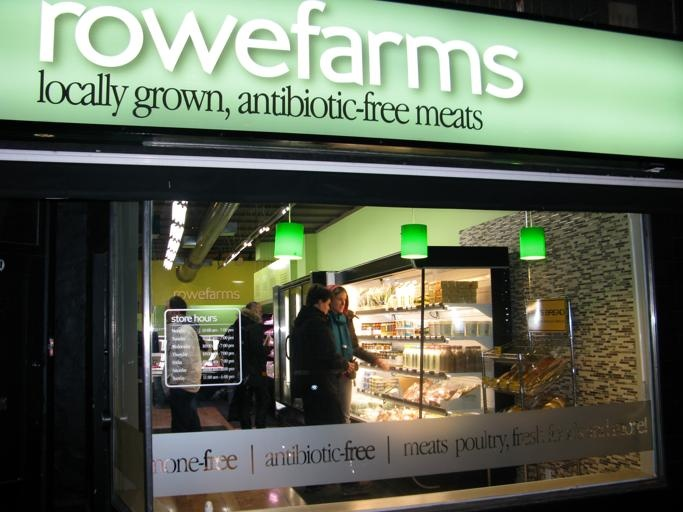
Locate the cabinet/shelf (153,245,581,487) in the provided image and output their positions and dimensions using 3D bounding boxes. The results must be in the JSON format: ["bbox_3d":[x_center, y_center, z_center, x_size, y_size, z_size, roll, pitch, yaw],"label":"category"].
[{"bbox_3d":[0.246,0.462,3.873,1.728,1.054,1.700,0,-6,-19],"label":"cabinet/shelf"}]

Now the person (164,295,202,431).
[{"bbox_3d":[-0.853,0.572,3.143,0.196,0.705,0.145,1,-6,-14],"label":"person"}]

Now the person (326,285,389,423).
[{"bbox_3d":[0.100,0.707,4.016,0.270,0.829,0.839,-2,2,-15],"label":"person"}]
